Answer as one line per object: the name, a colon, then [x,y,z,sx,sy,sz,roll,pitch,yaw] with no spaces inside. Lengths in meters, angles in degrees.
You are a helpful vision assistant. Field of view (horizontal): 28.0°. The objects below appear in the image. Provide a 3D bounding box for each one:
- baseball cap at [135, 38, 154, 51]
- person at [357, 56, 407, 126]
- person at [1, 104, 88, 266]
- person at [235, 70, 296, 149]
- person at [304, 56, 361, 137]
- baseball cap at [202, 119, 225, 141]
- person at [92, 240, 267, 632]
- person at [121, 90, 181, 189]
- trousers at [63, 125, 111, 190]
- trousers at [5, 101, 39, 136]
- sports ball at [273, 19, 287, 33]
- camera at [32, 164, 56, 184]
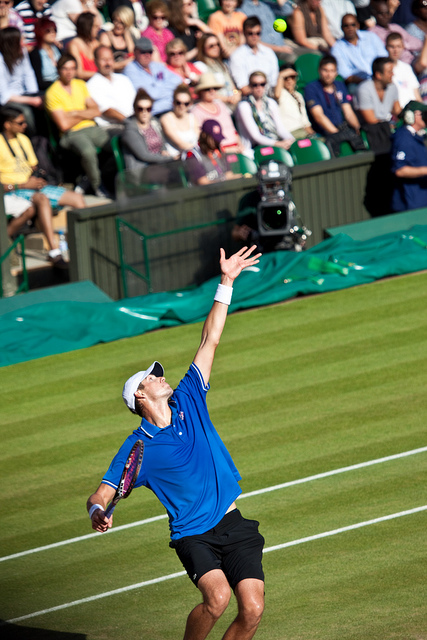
baseball cap: [-1.060,-4.192,12.949,0.262,0.185,0.241,-4,12,-6]
person: [2.772,-3.692,13.859,0.738,1.061,0.469,-11,15,-31]
person: [-2.385,-1.790,11.466,0.689,2.104,0.887,8,17,40]
person: [0.775,-3.174,13.042,0.774,1.129,0.581,-9,14,-23]
person: [1.910,-3.583,13.712,0.771,1.186,0.498,-7,14,-15]
baseball cap: [-0.009,-2.710,12.095,0.185,0.352,0.231,-36,10,43]
person: [-0.173,0.718,4.182,0.755,1.398,1.099,-3,13,1]
person: [-0.906,-2.530,12.007,0.799,1.334,0.571,-5,13,-7]
trousers: [-1.752,-2.322,12.125,0.529,0.816,0.419,27,33,25]
trousers: [-2.682,-2.835,11.989,0.404,0.492,0.401,-7,13,-15]
sports ball: [1.207,-5.354,15.493,0.224,0.251,0.285,-11,15,-32]
camera: [-2.349,-1.994,11.712,0.357,0.078,0.116,8,-24,-43]
